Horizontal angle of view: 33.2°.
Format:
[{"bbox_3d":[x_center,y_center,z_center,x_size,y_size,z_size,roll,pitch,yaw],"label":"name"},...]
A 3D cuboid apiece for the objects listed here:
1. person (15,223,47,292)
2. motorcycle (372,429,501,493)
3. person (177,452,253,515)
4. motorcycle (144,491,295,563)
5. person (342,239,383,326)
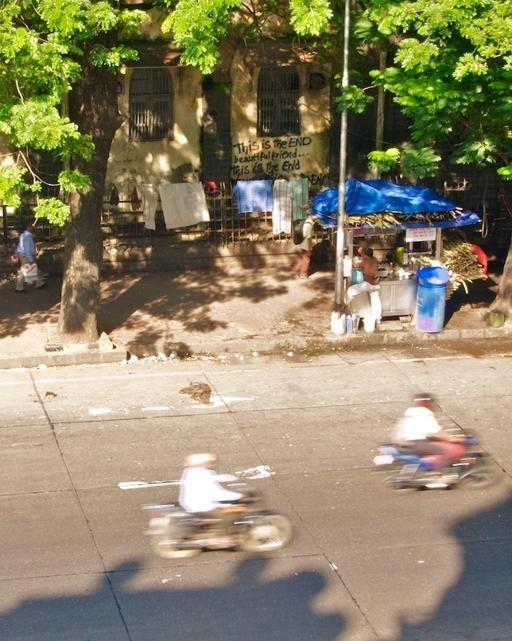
[{"bbox_3d":[-4.693,-1.399,17.674,0.561,1.348,1.574,-5,12,-14],"label":"person"},{"bbox_3d":[1.994,1.614,9.409,1.118,0.630,0.527,-9,41,2],"label":"motorcycle"},{"bbox_3d":[-0.431,1.492,8.210,0.626,0.772,1.021,-2,11,-4],"label":"person"},{"bbox_3d":[-0.347,1.956,8.074,1.387,0.587,0.508,-4,2,-5],"label":"motorcycle"},{"bbox_3d":[1.914,-0.649,15.211,0.583,1.476,0.750,2,12,17],"label":"person"}]
